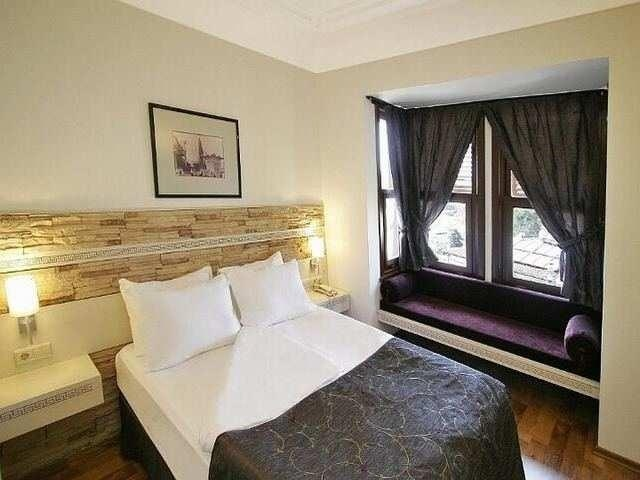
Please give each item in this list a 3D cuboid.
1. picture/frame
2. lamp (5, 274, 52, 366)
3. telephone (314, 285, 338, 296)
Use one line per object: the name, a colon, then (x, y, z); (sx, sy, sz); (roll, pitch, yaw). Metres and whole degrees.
picture/frame: (-1.145, -0.797, 3.753); (0.800, 0.818, 0.030); (-9, 11, -41)
lamp: (-2.105, 0.601, 3.093); (0.238, 0.694, 0.168); (-9, 9, -35)
telephone: (0.060, 0.520, 4.587); (0.160, 0.058, 0.126); (8, 10, 39)
